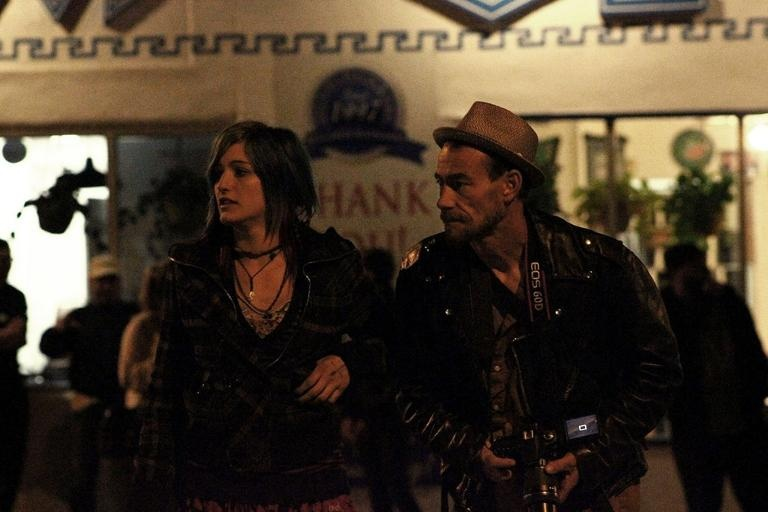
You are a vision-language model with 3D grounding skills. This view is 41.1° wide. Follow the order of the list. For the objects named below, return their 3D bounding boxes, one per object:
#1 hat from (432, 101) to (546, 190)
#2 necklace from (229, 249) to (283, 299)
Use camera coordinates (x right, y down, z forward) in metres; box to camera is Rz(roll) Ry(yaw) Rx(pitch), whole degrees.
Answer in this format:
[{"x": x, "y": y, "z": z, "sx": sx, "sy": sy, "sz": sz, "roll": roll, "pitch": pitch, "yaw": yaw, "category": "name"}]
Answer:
[{"x": 0.504, "y": -0.581, "z": 4.997, "sx": 0.632, "sy": 0.273, "sz": 0.581, "roll": 17, "pitch": -3, "yaw": 9, "category": "hat"}, {"x": -0.604, "y": 0.081, "z": 4.770, "sx": 0.198, "sy": 0.222, "sz": 0.066, "roll": 0, "pitch": -2, "yaw": 10, "category": "necklace"}]
